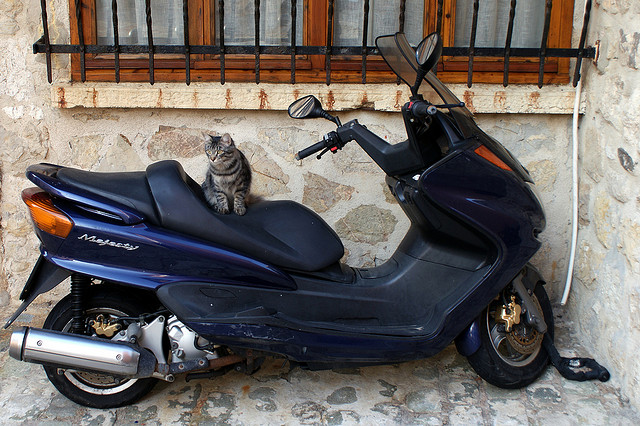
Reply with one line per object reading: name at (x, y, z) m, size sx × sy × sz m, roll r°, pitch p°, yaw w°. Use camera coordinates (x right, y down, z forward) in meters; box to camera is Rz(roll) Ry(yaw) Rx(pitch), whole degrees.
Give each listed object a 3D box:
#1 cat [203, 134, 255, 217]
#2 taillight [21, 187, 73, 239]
cat at (-0.639, -0.281, 3.957) m, size 0.329 × 0.551 × 0.450 m, roll 1°, pitch 18°, yaw 14°
taillight at (-1.632, -0.004, 3.491) m, size 0.154 × 0.256 × 0.362 m, roll -20°, pitch 25°, yaw -40°
